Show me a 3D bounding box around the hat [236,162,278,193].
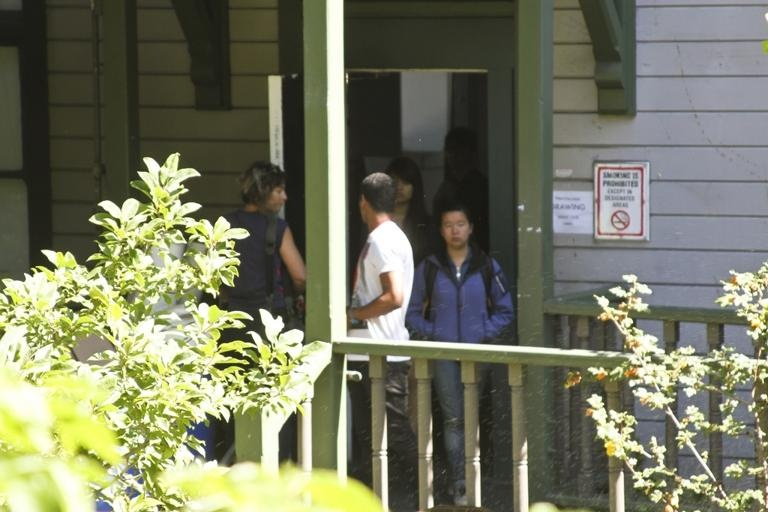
[{"bbox_3d":[-0.923,-0.594,12.266,0.249,0.249,0.207,4,6,10],"label":"hat"}]

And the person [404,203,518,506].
[{"bbox_3d":[0.562,0.739,12.381,0.775,2.241,0.425,4,-8,-22],"label":"person"}]

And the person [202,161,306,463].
[{"bbox_3d":[-0.976,0.411,12.355,0.727,2.250,0.501,-4,-9,34],"label":"person"}]
